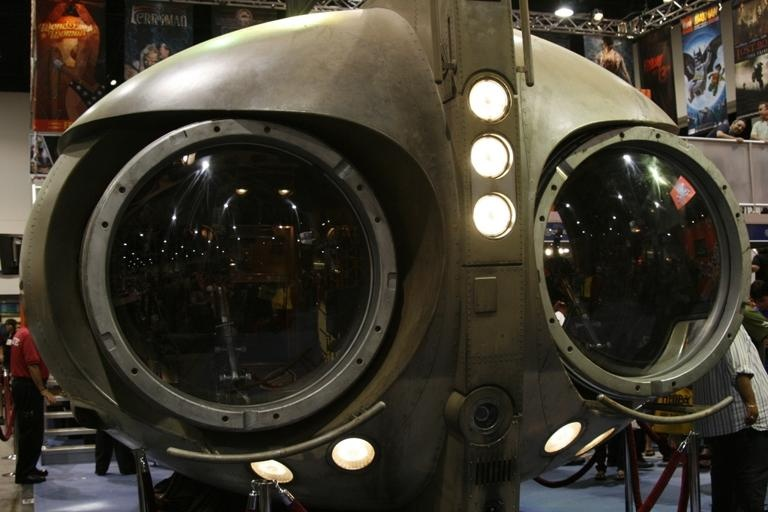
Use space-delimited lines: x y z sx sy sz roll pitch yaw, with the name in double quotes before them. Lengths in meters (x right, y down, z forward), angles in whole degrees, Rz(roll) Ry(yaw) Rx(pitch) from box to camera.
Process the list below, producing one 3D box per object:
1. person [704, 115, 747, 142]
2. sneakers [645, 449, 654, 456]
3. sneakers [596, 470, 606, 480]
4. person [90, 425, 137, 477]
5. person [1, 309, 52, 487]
"person" 6.967 -2.566 15.469 0.597 0.663 2.986 -1 4 24
"sneakers" 4.232 3.140 12.189 0.087 0.044 0.165 -4 -7 5
"sneakers" 3.069 3.105 10.831 0.079 0.102 0.239 -4 -22 9
"person" -4.297 3.059 12.018 0.509 0.742 0.969 -3 3 -32
"person" -5.399 2.270 11.588 0.716 2.323 0.480 0 3 32
